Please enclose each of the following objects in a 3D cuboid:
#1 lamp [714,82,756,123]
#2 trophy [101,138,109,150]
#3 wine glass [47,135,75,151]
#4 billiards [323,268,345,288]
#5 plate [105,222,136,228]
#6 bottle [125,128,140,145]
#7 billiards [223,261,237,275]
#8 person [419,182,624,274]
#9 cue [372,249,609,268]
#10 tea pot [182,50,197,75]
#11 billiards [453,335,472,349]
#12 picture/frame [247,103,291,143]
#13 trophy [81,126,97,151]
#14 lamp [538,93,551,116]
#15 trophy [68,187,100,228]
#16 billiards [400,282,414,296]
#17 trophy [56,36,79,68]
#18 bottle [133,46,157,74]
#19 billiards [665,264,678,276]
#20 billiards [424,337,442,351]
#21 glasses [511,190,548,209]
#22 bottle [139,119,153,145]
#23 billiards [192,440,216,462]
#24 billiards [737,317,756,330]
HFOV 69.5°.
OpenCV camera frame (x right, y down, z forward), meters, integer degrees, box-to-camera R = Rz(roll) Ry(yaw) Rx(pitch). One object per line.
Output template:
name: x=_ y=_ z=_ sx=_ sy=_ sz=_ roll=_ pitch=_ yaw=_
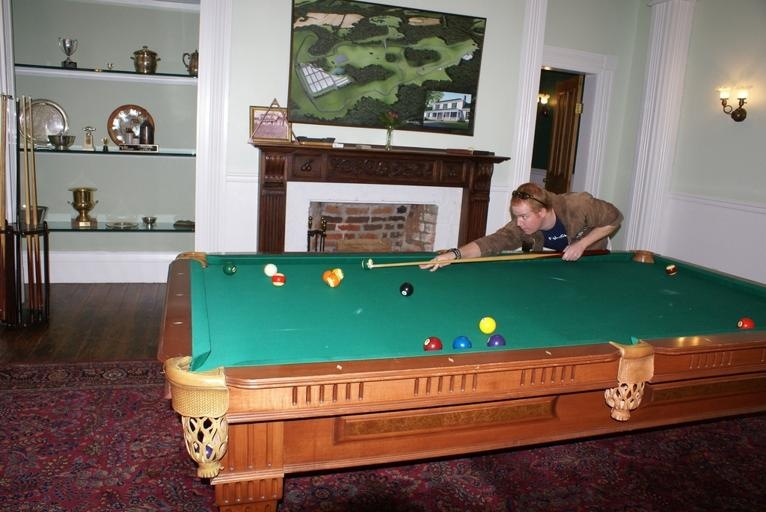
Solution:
lamp: x=3.551 y=-1.549 z=5.629 sx=0.150 sy=0.378 sz=0.410 roll=-3 pitch=14 yaw=-9
trophy: x=-2.696 y=-1.074 z=5.366 sx=0.050 sy=0.120 sz=0.194 roll=-7 pitch=15 yaw=-24
wine glass: x=-3.140 y=-1.119 z=5.394 sx=0.209 sy=0.130 sz=0.223 roll=-8 pitch=15 yaw=-29
billiards: x=-0.281 y=0.144 z=3.255 sx=0.108 sy=0.048 sz=0.113 roll=33 pitch=54 yaw=20
plate: x=-2.652 y=-0.308 z=5.604 sx=0.282 sy=0.037 sz=0.396 roll=-6 pitch=13 yaw=-25
bottle: x=-2.537 y=-1.210 z=5.561 sx=0.137 sy=0.156 sz=0.094 roll=5 pitch=15 yaw=21
billiards: x=-0.924 y=0.072 z=3.319 sx=0.085 sy=0.049 sz=0.077 roll=4 pitch=35 yaw=8
person: x=1.038 y=-0.178 z=4.223 sx=1.687 sy=0.608 sz=0.737 roll=-14 pitch=8 yaw=-14
cue: x=0.769 y=0.024 z=3.774 sx=1.391 sy=0.066 sz=0.094 roll=-1 pitch=-12 yaw=-21
tea pot: x=-1.905 y=-1.920 z=5.481 sx=0.138 sy=0.266 sz=0.547 roll=-6 pitch=14 yaw=-20
billiards: x=0.394 y=0.421 z=2.656 sx=0.063 sy=0.057 sz=0.059 roll=-1 pitch=30 yaw=-2
picture/frame: x=-1.132 y=-1.304 z=5.446 sx=0.541 sy=0.395 sz=0.049 roll=0 pitch=4 yaw=-11
trophy: x=-2.885 y=-1.161 z=5.441 sx=0.119 sy=0.232 sz=0.404 roll=-8 pitch=15 yaw=-25
lamp: x=2.670 y=-2.469 z=9.047 sx=0.200 sy=0.362 sz=0.422 roll=3 pitch=14 yaw=15
trophy: x=-2.957 y=-0.476 z=5.444 sx=0.226 sy=0.388 sz=0.240 roll=-4 pitch=15 yaw=-14
billiards: x=0.140 y=0.189 z=3.185 sx=0.077 sy=0.070 sz=0.073 roll=3 pitch=16 yaw=0
trophy: x=-3.034 y=-1.967 z=5.346 sx=0.173 sy=0.321 sz=0.270 roll=-8 pitch=16 yaw=-26
bottle: x=-2.361 y=-1.938 z=5.468 sx=0.297 sy=0.238 sz=0.214 roll=6 pitch=22 yaw=2
billiards: x=1.986 y=0.096 z=3.771 sx=0.078 sy=0.069 sz=0.078 roll=-3 pitch=24 yaw=45
billiards: x=0.242 y=0.421 z=2.622 sx=0.067 sy=0.069 sz=0.059 roll=14 pitch=46 yaw=-8
glasses: x=1.057 y=-0.412 z=3.954 sx=0.173 sy=0.044 sz=0.160 roll=11 pitch=9 yaw=-11
bottle: x=-2.416 y=-1.269 z=5.635 sx=0.119 sy=0.255 sz=0.256 roll=-2 pitch=14 yaw=-5
billiards: x=-0.731 y=0.804 z=2.273 sx=0.093 sy=0.055 sz=0.078 roll=2 pitch=-1 yaw=-9
billiards: x=1.982 y=0.368 z=2.993 sx=0.092 sy=0.062 sz=0.088 roll=-2 pitch=4 yaw=22
